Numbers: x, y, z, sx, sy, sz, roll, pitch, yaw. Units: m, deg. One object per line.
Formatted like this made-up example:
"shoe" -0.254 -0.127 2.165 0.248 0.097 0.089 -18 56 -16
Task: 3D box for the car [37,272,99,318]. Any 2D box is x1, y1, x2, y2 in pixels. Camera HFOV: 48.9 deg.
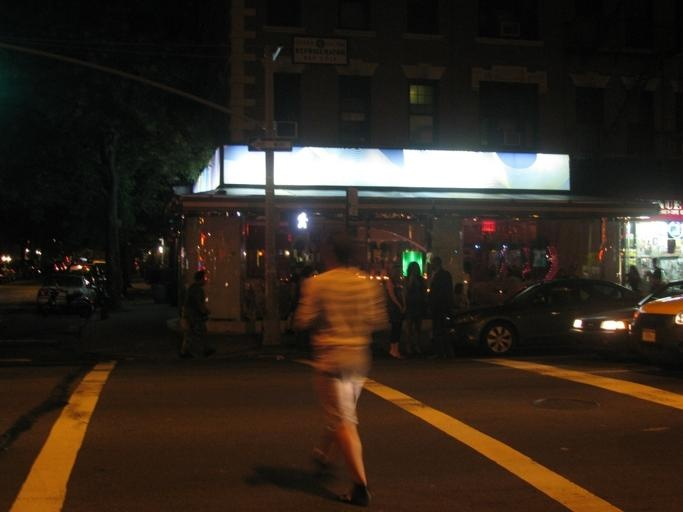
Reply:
"car" -10.729 1.505 29.389 2.212 1.615 1.529 -2 4 -32

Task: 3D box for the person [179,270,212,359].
"person" -3.423 1.340 17.707 0.699 1.996 0.832 -1 3 -12

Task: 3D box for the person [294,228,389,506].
"person" -0.004 1.302 9.096 1.015 3.117 0.873 0 3 12
